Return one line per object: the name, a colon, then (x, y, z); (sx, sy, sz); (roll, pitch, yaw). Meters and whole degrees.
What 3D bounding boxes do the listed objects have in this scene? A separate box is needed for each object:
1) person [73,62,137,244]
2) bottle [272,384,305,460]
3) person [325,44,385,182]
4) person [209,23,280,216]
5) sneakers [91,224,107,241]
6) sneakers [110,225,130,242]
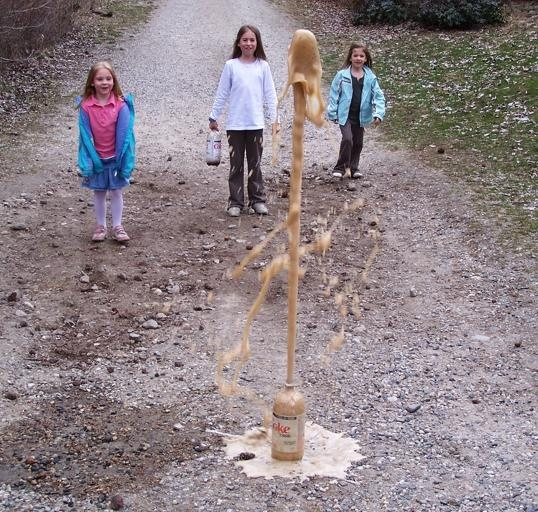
person: (-1.588, -0.972, 6.857); (0.553, 1.772, 0.401); (-4, 23, -9)
bottle: (0.115, 1.049, 4.467); (0.215, 0.533, 0.178); (3, 22, 6)
person: (1.086, -1.798, 8.869); (0.745, 1.698, 0.613); (5, 23, 13)
person: (-0.287, -1.419, 7.585); (0.716, 2.037, 0.434); (-2, 23, -4)
sneakers: (-1.720, -0.219, 7.046); (0.101, 0.096, 0.231); (1, 11, -4)
sneakers: (-1.518, -0.216, 7.088); (0.109, 0.096, 0.245); (-8, 11, -30)
